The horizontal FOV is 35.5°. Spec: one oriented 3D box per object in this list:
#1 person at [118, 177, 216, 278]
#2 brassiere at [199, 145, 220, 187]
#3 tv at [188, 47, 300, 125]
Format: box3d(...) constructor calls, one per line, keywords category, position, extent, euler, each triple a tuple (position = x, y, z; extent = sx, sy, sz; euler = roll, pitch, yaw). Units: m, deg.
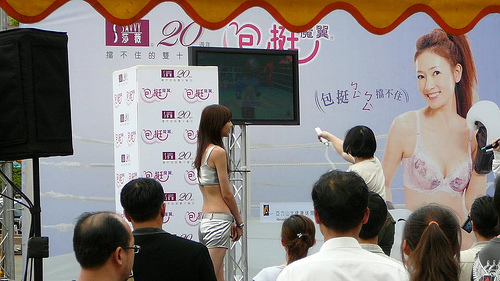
box3d(category="person", position=(-1.004, 1.077, 9.434), extent=(1.329, 1.082, 0.691), euler=(-3, 2, 6))
box3d(category="brassiere", position=(-0.530, 0.349, 10.411), extent=(0.213, 0.546, 0.200), euler=(-1, 1, 31))
box3d(category="tv", position=(-0.149, -0.740, 11.049), extent=(1.207, 0.783, 0.117), euler=(1, -7, -5))
